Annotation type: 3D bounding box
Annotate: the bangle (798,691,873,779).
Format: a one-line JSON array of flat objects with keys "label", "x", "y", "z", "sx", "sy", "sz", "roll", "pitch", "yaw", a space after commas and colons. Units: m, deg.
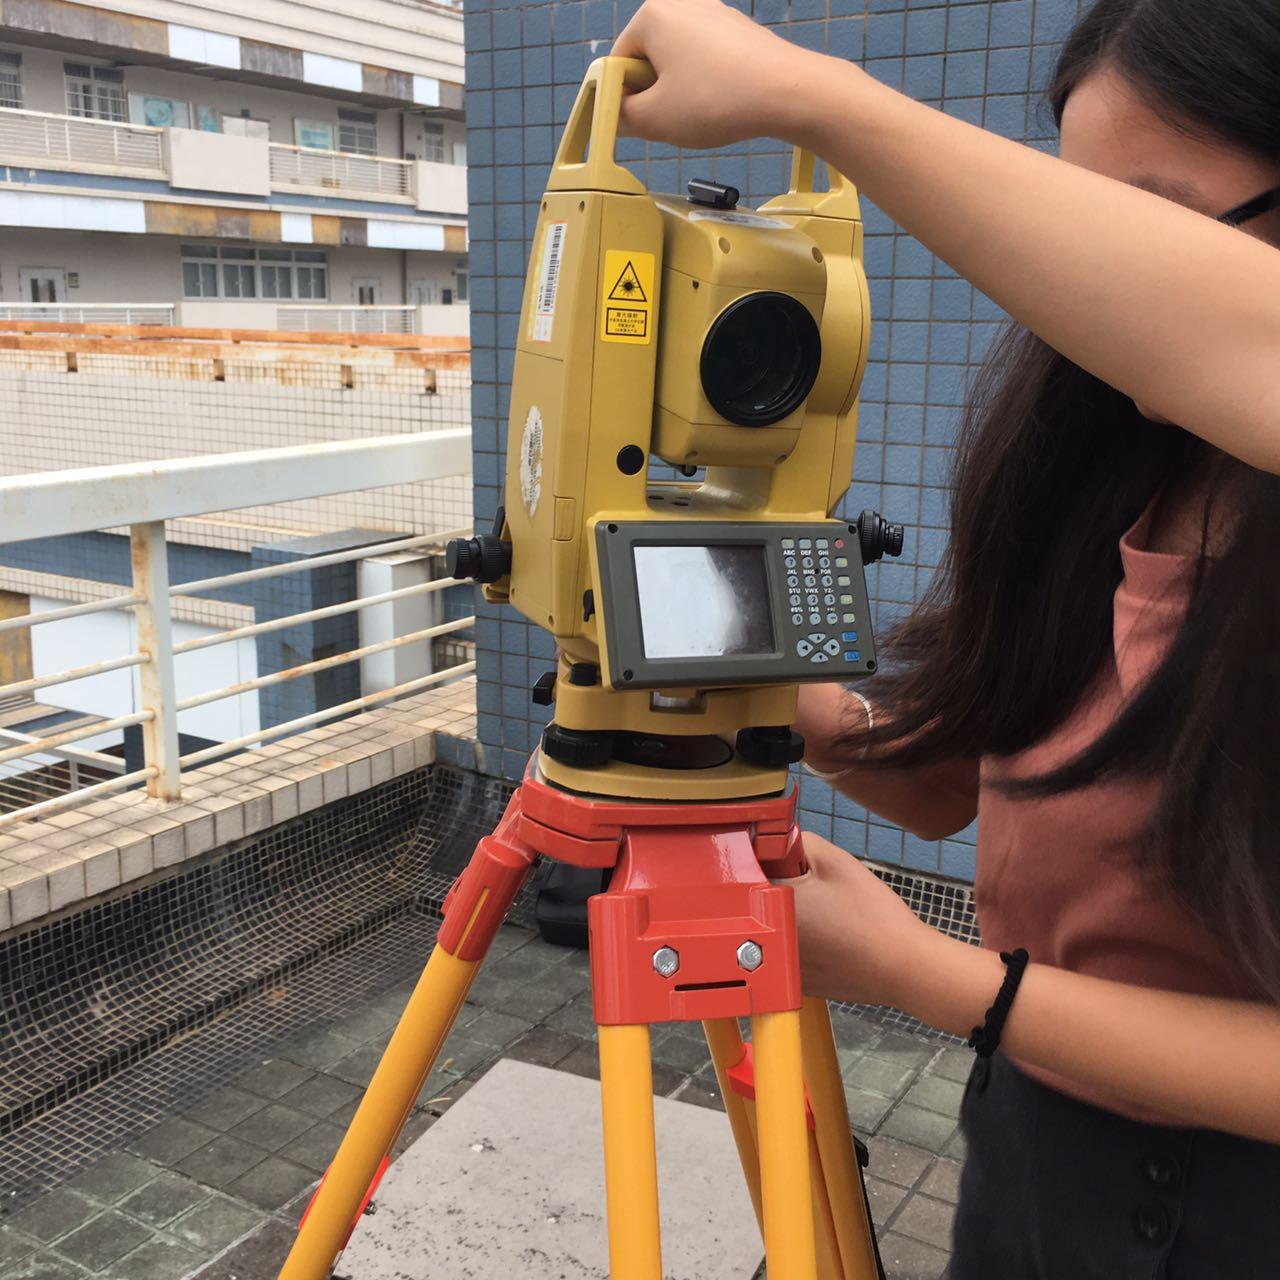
[{"label": "bangle", "x": 0.181, "y": 0.081, "z": 1.088, "sx": 0.084, "sy": 0.078, "sz": 0.095, "roll": 5, "pitch": 9, "yaw": 11}]
